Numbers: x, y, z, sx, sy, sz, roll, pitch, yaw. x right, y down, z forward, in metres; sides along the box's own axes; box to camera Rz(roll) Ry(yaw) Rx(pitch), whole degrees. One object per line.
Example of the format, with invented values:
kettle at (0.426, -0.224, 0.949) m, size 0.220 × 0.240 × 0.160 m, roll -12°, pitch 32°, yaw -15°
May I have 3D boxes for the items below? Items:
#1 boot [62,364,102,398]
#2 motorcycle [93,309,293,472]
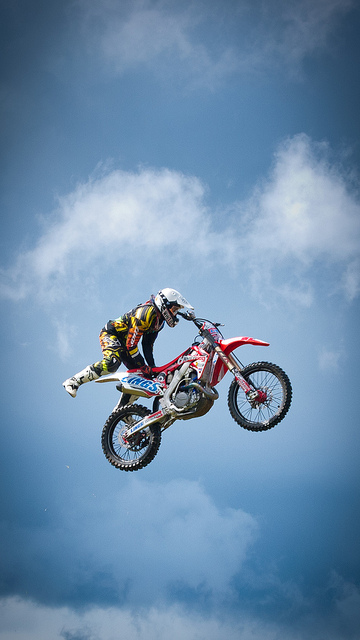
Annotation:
boot at (-0.855, 0.537, 5.185) m, size 0.316 × 0.295 × 0.200 m, roll -15°, pitch -37°, yaw 33°
motorcycle at (-0.005, 0.501, 4.465) m, size 1.521 × 0.954 × 0.558 m, roll -29°, pitch -25°, yaw 17°
